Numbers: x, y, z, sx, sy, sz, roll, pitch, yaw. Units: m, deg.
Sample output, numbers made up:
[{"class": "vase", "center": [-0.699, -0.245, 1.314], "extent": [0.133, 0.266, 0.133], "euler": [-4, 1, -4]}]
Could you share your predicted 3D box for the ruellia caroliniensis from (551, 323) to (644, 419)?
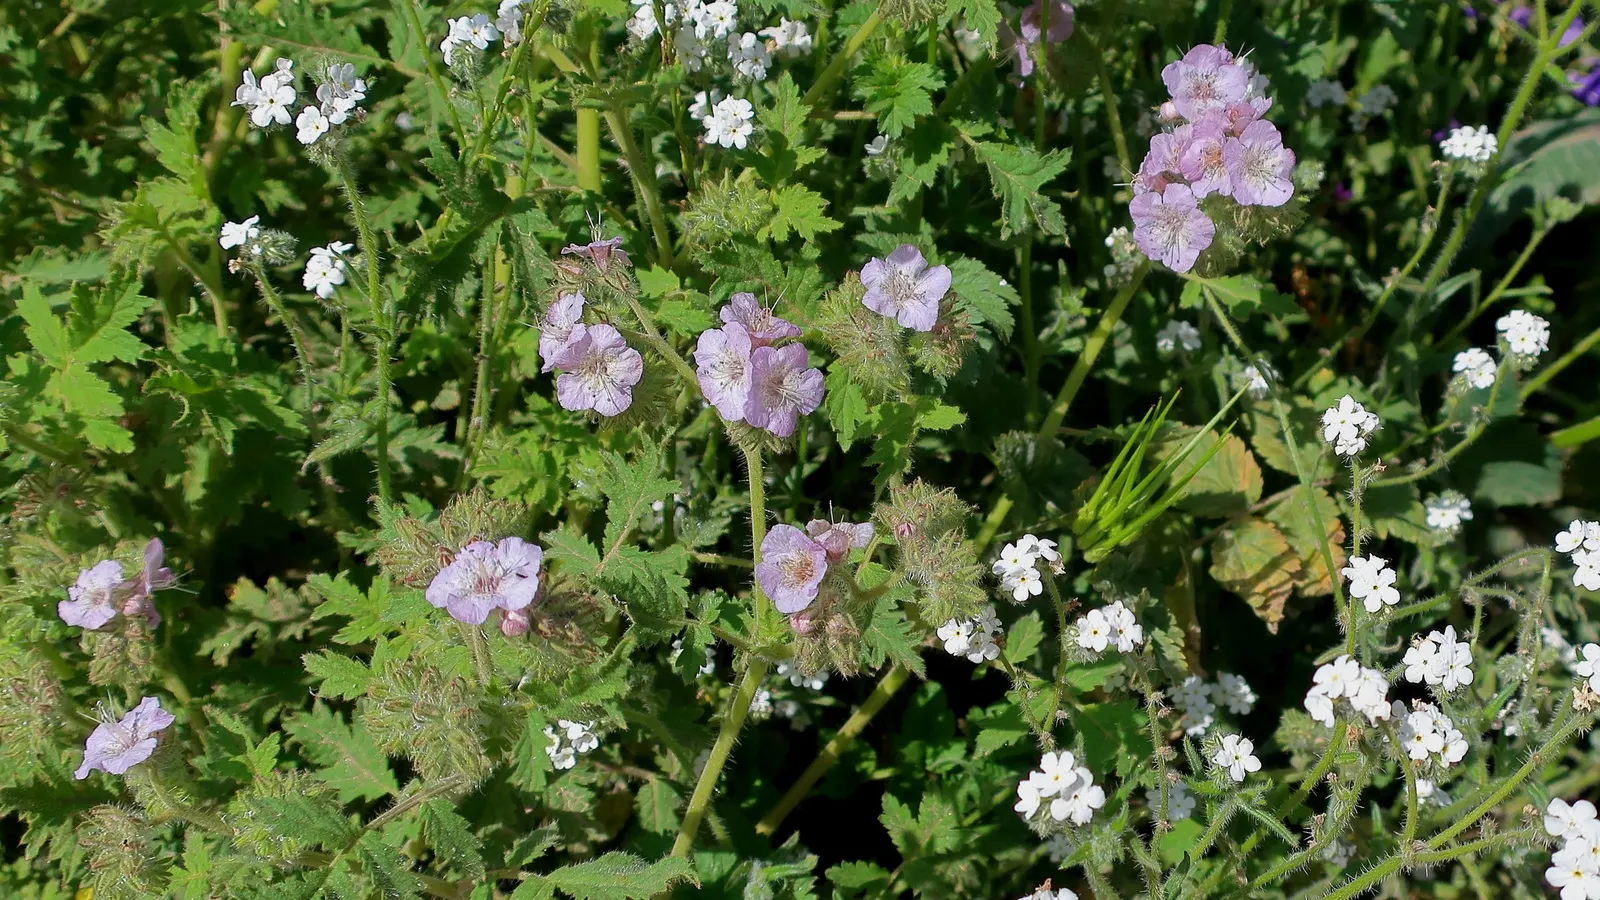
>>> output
[{"class": "ruellia caroliniensis", "center": [-0.738, -0.290, 5.218], "extent": [0.303, 0.186, 0.264], "euler": [7, 64, 6]}]

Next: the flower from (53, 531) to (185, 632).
[{"class": "flower", "center": [-2.598, 0.551, 5.485], "extent": [0.414, 0.235, 0.271], "euler": [-21, 64, -8]}]

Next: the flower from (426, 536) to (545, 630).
[{"class": "flower", "center": [-1.103, 0.456, 5.099], "extent": [0.376, 0.191, 0.339], "euler": [18, 66, 11]}]

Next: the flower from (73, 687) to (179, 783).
[{"class": "flower", "center": [-2.482, 1.025, 5.312], "extent": [0.331, 0.196, 0.411], "euler": [-1, 19, 18]}]

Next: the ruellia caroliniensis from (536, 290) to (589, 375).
[{"class": "ruellia caroliniensis", "center": [-0.852, -0.435, 5.288], "extent": [0.226, 0.070, 0.260], "euler": [-13, 65, 34]}]
